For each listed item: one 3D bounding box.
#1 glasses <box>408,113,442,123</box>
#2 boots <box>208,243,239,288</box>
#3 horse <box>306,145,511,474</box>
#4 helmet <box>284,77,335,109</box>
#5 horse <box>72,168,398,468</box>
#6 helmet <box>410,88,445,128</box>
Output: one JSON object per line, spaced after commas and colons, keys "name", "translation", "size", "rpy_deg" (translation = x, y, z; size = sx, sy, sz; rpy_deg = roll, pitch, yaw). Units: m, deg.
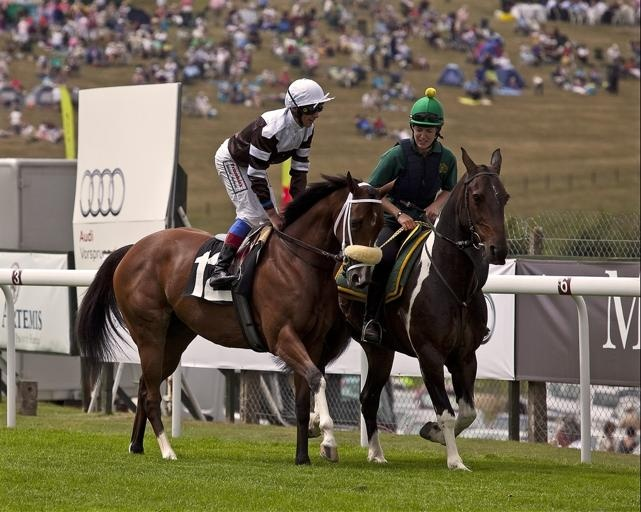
{"name": "glasses", "translation": [0.977, -1.313, 16.168], "size": [0.289, 0.106, 0.072], "rpy_deg": [0, -4, -1]}
{"name": "boots", "translation": [-0.910, 0.090, 16.084], "size": [0.298, 0.463, 0.128], "rpy_deg": [0, -39, 23]}
{"name": "horse", "translation": [0.857, 0.657, 16.661], "size": [0.837, 3.041, 3.728], "rpy_deg": [2, -7, -24]}
{"name": "helmet", "translation": [-0.156, -1.525, 15.982], "size": [0.326, 0.211, 0.278], "rpy_deg": [-1, 9, 18]}
{"name": "horse", "translation": [-0.884, 0.610, 16.417], "size": [3.527, 2.877, 1.075], "rpy_deg": [-2, -5, 35]}
{"name": "helmet", "translation": [0.994, -1.416, 16.333], "size": [0.279, 0.353, 0.374], "rpy_deg": [5, 4, 2]}
